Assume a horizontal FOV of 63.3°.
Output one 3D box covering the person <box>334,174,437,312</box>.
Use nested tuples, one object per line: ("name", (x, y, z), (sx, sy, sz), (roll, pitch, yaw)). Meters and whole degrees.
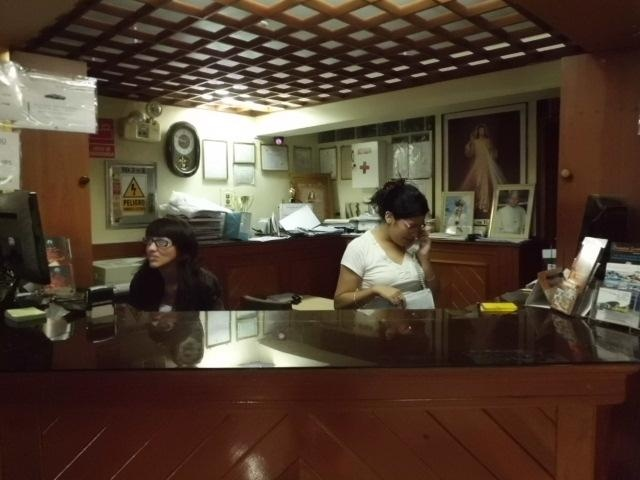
("person", (0.417, 0.022, 3.376), (0.497, 0.819, 0.586), (5, 10, 36))

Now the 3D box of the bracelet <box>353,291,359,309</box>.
("bracelet", (0.222, 0.380, 3.294), (0.027, 0.107, 0.047), (-1, 8, -6))

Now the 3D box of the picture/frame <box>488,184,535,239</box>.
("picture/frame", (2.153, -0.314, 5.809), (0.552, 0.802, 0.096), (4, -13, 44))

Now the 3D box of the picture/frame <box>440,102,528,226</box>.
("picture/frame", (1.986, -0.907, 6.180), (1.301, 1.930, 0.071), (0, 0, 41))

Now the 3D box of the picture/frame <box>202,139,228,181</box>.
("picture/frame", (-1.460, -1.178, 7.286), (0.342, 0.485, 0.035), (-5, 27, -19))

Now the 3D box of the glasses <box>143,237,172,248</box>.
("glasses", (-1.000, 0.014, 3.194), (0.166, 0.062, 0.055), (1, 8, 10))

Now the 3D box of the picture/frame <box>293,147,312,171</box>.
("picture/frame", (-0.299, -1.323, 8.362), (0.051, 0.374, 0.371), (2, 6, 38))

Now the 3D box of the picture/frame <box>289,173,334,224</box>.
("picture/frame", (-0.163, -0.644, 7.973), (0.757, 1.085, 0.096), (-1, -12, -31))

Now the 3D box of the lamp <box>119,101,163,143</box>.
("lamp", (-2.183, -1.472, 6.430), (0.419, 0.455, 0.244), (2, -4, -10))

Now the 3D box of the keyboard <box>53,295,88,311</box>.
("keyboard", (-1.301, 0.326, 2.721), (0.182, 0.054, 0.102), (11, 17, 38))

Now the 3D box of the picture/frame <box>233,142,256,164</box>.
("picture/frame", (-1.098, -1.281, 7.621), (0.094, 0.310, 0.422), (5, 10, 34))

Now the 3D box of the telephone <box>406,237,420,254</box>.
("telephone", (0.629, 0.041, 3.499), (0.070, 0.083, 0.092), (-7, -12, 41))

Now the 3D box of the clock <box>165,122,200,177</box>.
("clock", (-1.818, -1.215, 6.893), (0.109, 0.687, 0.445), (6, 10, 39))

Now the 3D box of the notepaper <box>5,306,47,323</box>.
("notepaper", (-1.403, 0.359, 2.440), (0.204, 0.031, 0.131), (1, 9, 6))

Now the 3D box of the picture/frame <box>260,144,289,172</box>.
("picture/frame", (-0.721, -1.269, 7.948), (0.057, 0.344, 0.437), (3, 4, 44))
